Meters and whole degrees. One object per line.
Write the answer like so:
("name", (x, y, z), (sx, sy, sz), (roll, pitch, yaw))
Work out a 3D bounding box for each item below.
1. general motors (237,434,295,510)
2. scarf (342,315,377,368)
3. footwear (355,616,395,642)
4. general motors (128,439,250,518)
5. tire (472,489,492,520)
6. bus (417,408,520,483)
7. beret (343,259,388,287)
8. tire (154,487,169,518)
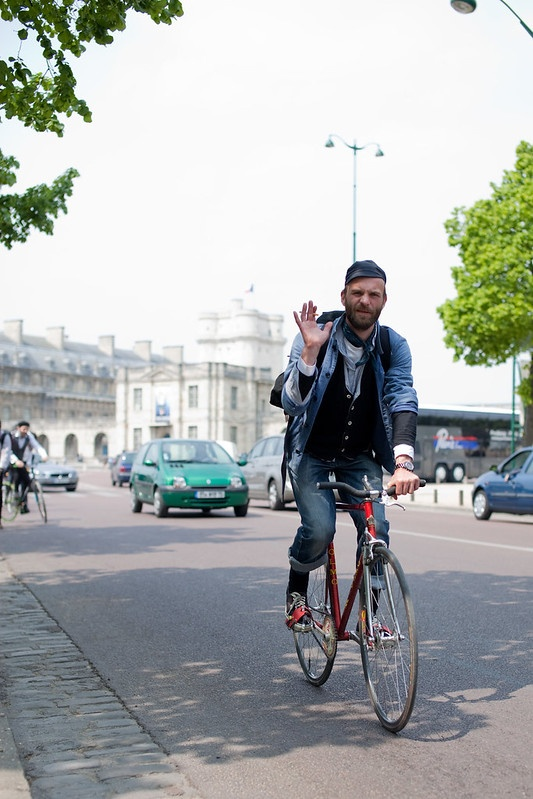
("general motors", (-0.025, 1.394, 21.785), (1.047, 0.888, 1.719), (1, -1, -18))
("scarf", (0.416, -0.244, 5.063), (0.136, 0.187, 0.099), (-2, 5, 4))
("footwear", (0.470, 0.979, 4.725), (0.074, 0.097, 0.177), (3, -9, -8))
("general motors", (-1.399, 1.253, 18.591), (1.088, 0.871, 1.968), (2, -8, -19))
("tire", (3.897, 1.871, 20.183), (0.172, 0.516, 0.523), (-2, -14, -16))
("bus", (8.491, 1.897, 48.681), (7.406, 3.300, 1.992), (2, -3, -35))
("beret", (0.438, -0.559, 4.972), (0.172, 0.099, 0.161), (7, -2, 6))
("tire", (-1.695, 1.631, 17.978), (0.175, 0.529, 0.533), (8, -2, -22))
